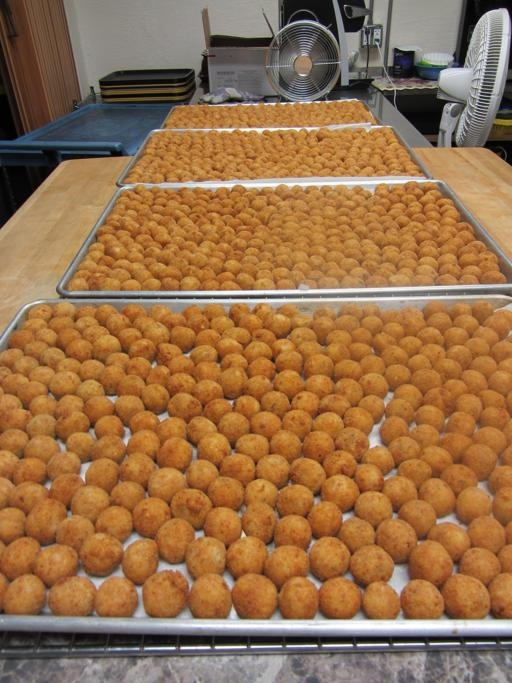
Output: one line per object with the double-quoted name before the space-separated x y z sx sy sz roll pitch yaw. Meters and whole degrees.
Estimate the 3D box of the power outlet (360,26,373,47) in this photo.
"power outlet" 0.978 -2.717 4.485 0.106 0.170 0.224 6 36 7

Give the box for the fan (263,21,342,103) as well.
"fan" 0.291 -1.717 3.131 0.447 0.493 0.442 4 36 5

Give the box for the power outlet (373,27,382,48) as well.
"power outlet" 1.070 -2.696 4.442 0.030 0.129 0.131 17 19 33
